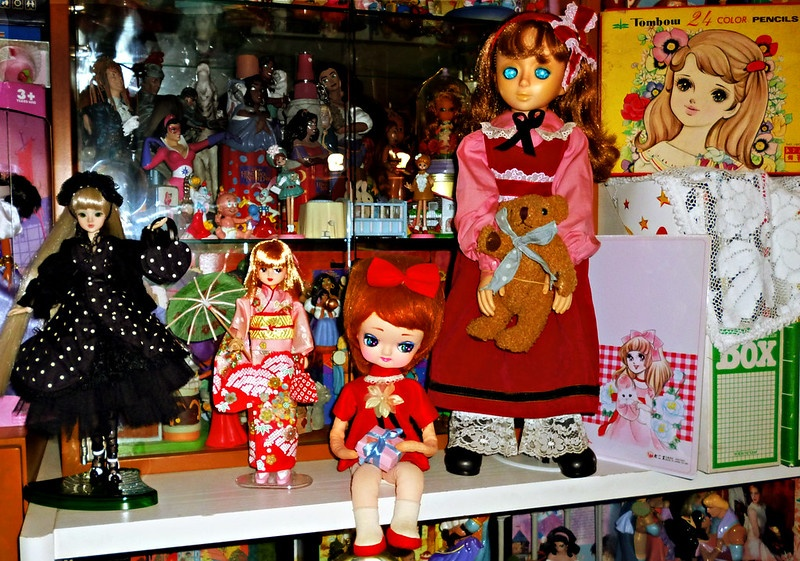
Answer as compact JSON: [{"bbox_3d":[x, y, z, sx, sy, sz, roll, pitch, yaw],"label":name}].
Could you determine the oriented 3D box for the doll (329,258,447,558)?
[{"bbox_3d":[-0.045,0.414,2.593,0.405,0.992,0.361,0,0,0],"label":"doll"}]

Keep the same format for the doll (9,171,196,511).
[{"bbox_3d":[-1.009,0.199,2.520,0.586,1.128,0.265,0,0,-17],"label":"doll"}]

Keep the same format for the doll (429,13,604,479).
[{"bbox_3d":[0.462,-0.149,2.750,0.708,1.730,0.380,0,0,6],"label":"doll"}]
